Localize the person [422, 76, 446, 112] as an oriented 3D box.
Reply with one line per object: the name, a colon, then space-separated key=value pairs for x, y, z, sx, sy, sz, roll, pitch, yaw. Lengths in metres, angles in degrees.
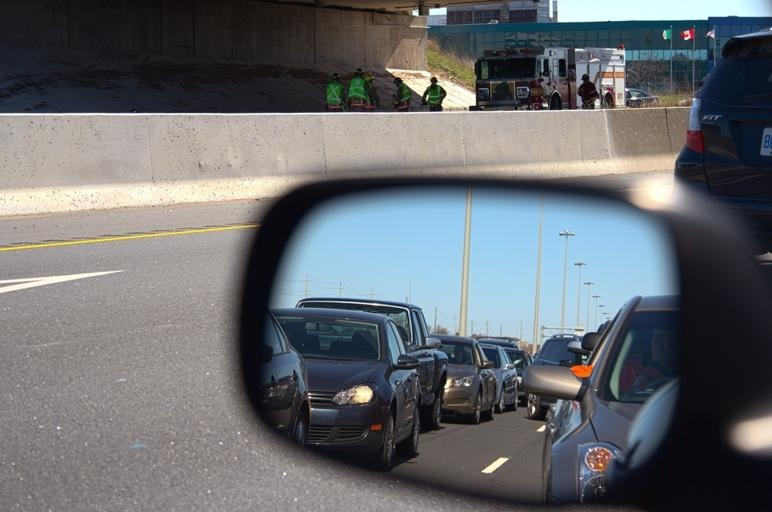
person: x=2.050 y=-6.916 z=32.027 sx=1.214 sy=2.442 sz=0.560 roll=2 pitch=38 yaw=6
